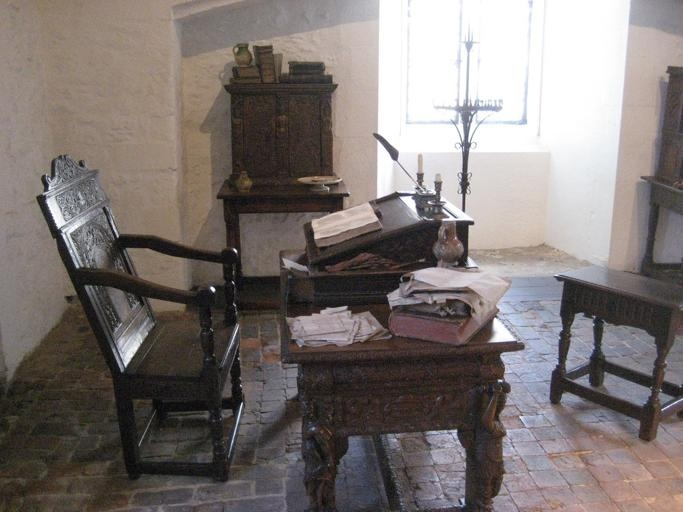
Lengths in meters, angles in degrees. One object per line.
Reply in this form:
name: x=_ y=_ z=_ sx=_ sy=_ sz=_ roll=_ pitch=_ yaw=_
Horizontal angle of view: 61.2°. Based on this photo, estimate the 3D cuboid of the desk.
desk: x=0.191 y=0.273 z=3.771 sx=1.319 sy=1.004 sz=1.968 roll=-4 pitch=17 yaw=-7

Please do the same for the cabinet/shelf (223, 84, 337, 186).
cabinet/shelf: x=-0.614 y=-1.241 z=5.863 sx=1.065 sy=0.935 sz=0.494 roll=-1 pitch=17 yaw=-5

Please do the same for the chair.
chair: x=-1.223 y=0.336 z=3.772 sx=1.047 sy=1.970 sz=1.158 roll=-5 pitch=18 yaw=-10

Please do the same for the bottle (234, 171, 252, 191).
bottle: x=-0.970 y=-0.767 z=5.741 sx=0.199 sy=0.215 sz=0.190 roll=-7 pitch=17 yaw=-25
